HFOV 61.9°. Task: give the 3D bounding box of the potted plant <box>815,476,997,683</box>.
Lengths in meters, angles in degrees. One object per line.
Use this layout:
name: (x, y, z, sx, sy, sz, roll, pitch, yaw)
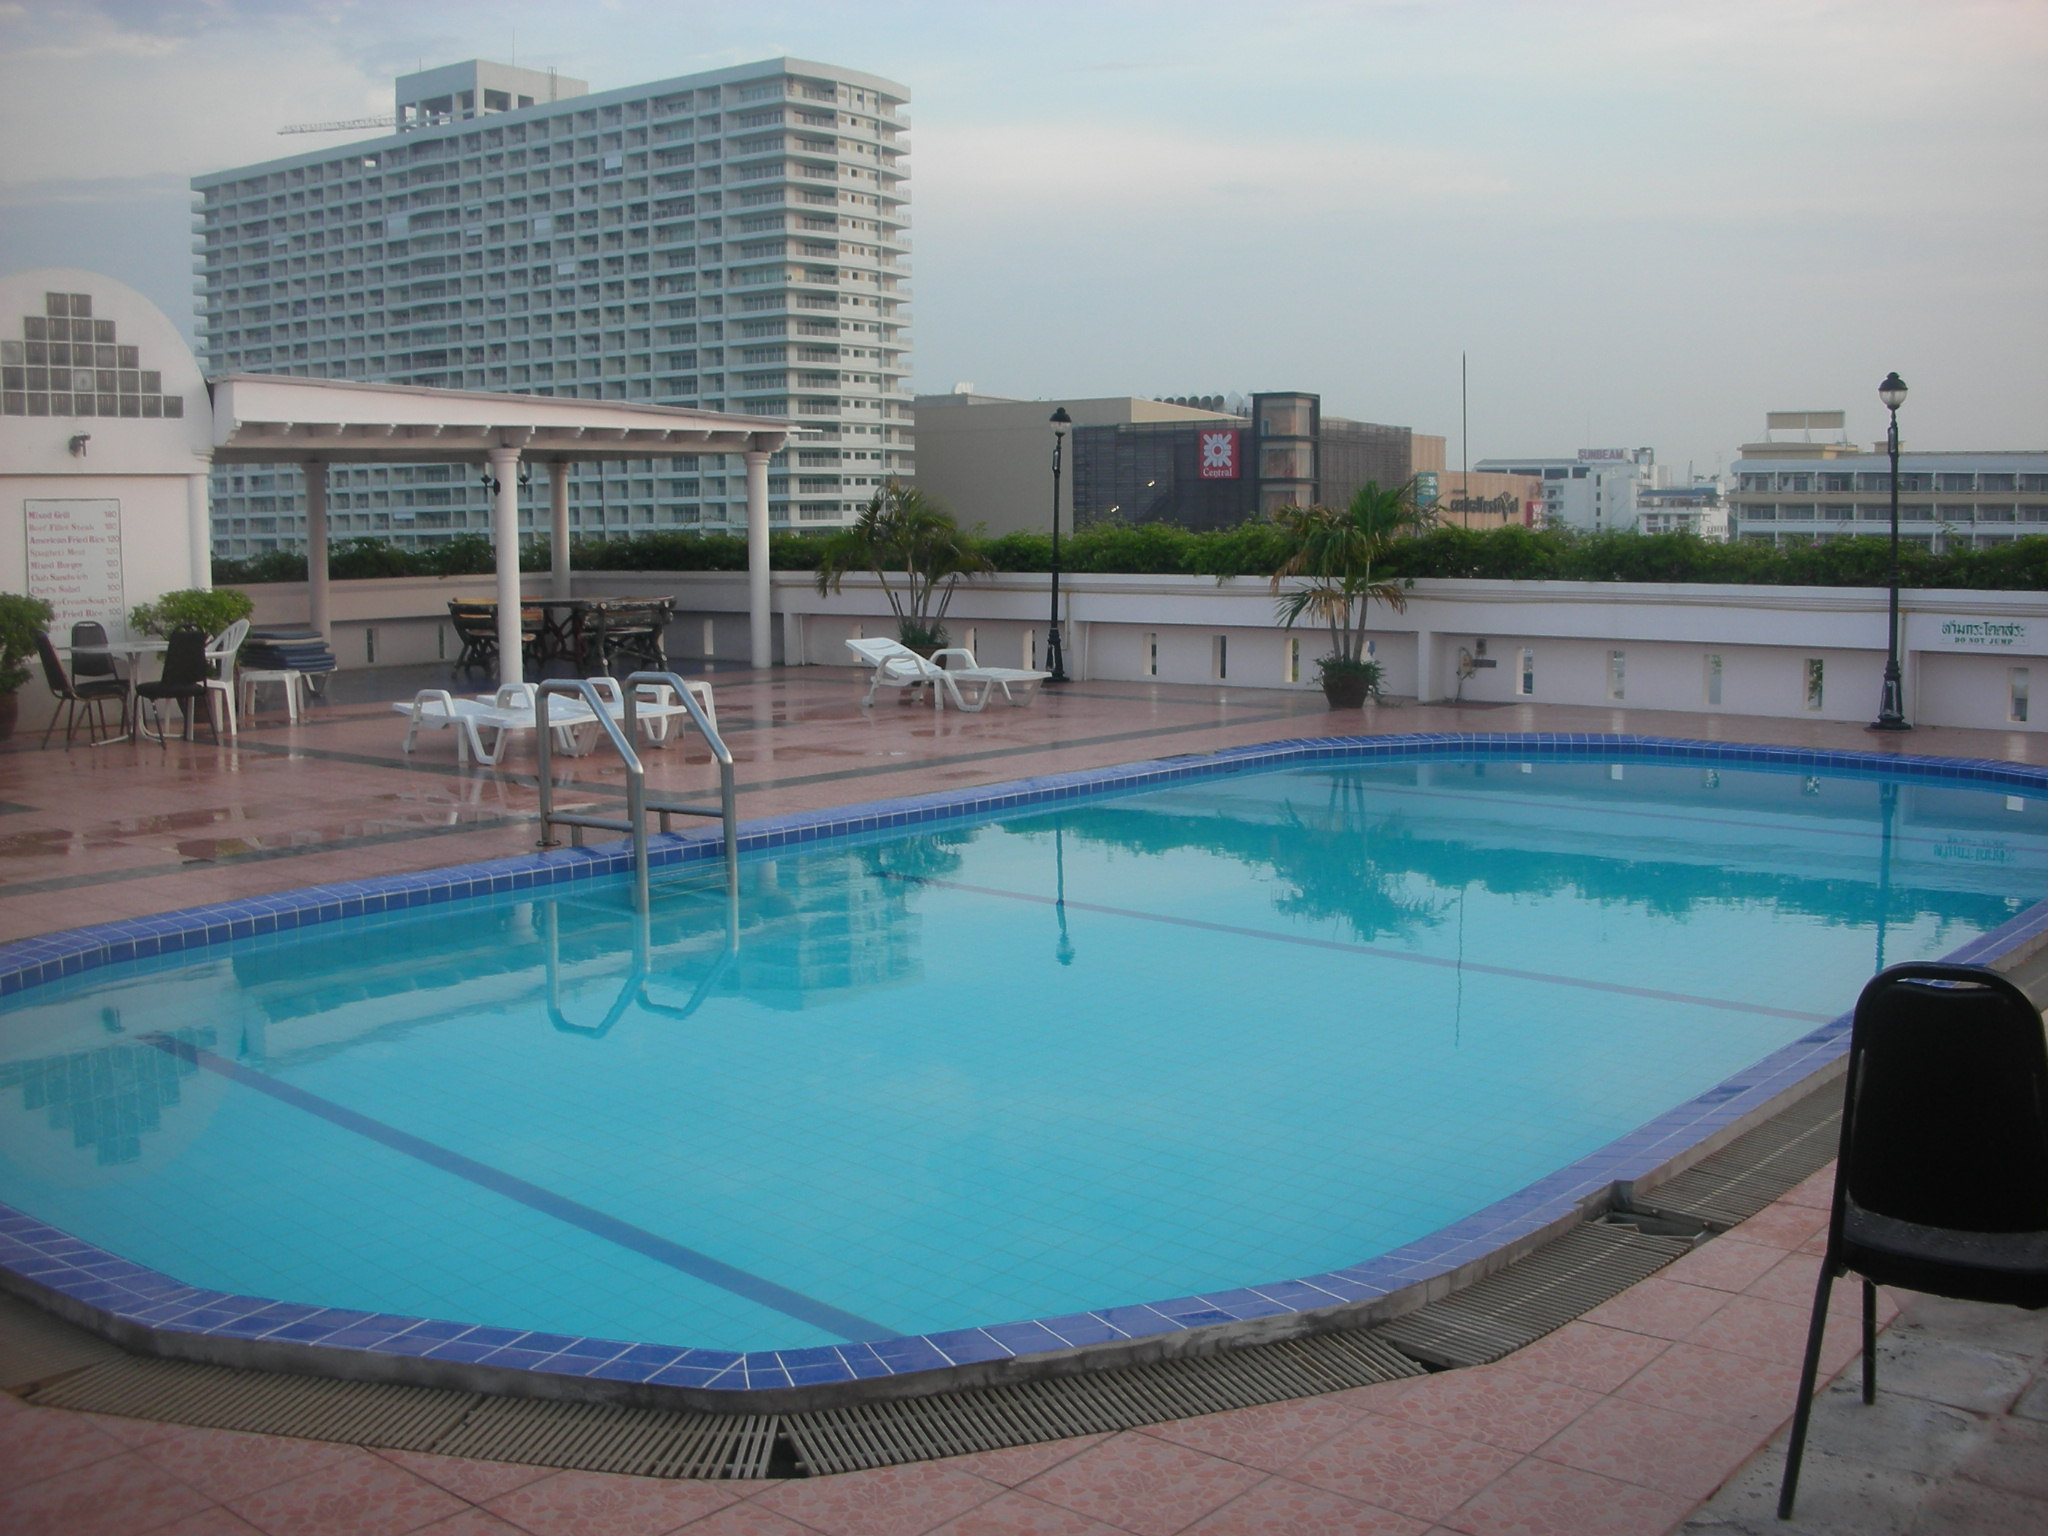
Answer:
potted plant: (-1.483, -2.895, 24.889, 2.603, 2.769, 2.443, -5, 10, -16)
